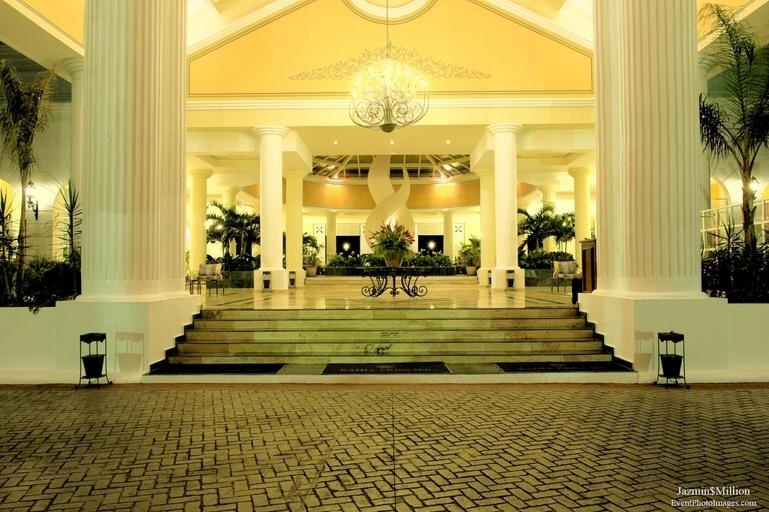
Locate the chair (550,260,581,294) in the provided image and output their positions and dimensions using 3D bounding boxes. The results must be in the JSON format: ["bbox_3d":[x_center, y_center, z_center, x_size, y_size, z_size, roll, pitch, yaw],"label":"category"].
[{"bbox_3d":[4.472,0.531,13.534,0.906,0.810,0.537,0,-3,0],"label":"chair"}]

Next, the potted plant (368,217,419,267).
[{"bbox_3d":[0.133,-0.165,11.714,0.999,0.802,0.942,-6,-6,43],"label":"potted plant"}]
